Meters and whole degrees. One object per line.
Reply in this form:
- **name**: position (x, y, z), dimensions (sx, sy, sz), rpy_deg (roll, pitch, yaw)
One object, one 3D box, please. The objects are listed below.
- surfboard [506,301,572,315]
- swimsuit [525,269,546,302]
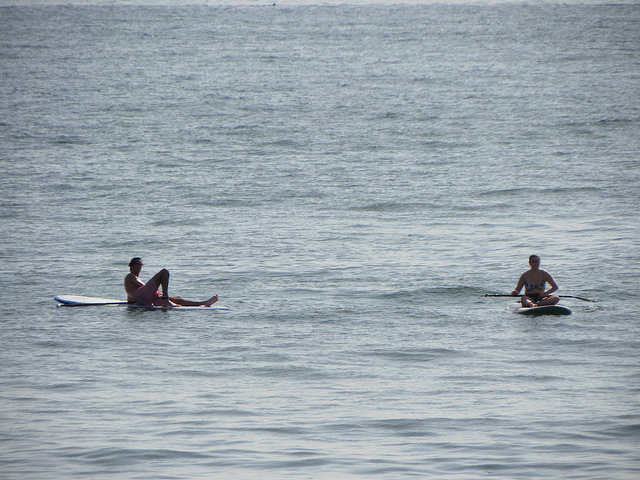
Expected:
- **surfboard**: position (11.830, 3.696, 90.103), dimensions (3.298, 0.570, 0.639), rpy_deg (-1, 27, 8)
- **swimsuit**: position (11.745, 2.564, 90.587), dimensions (1.108, 1.410, 0.936), rpy_deg (-6, 30, 5)
